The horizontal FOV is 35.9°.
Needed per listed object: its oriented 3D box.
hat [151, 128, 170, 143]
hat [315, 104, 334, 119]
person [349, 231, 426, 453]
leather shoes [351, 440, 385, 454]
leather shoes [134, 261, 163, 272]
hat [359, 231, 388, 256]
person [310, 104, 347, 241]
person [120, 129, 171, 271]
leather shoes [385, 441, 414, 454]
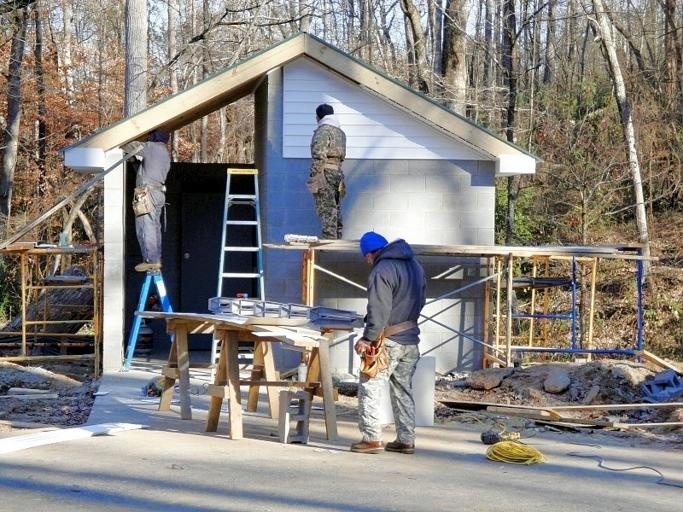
[{"bbox_3d":[-3.363,-2.259,19.466,0.325,0.304,0.249,-21,20,-18],"label":"hat"},{"bbox_3d":[-0.293,-2.643,19.109,0.306,0.341,0.418,3,-5,-3],"label":"hat"},{"bbox_3d":[0.691,1.224,15.039,0.994,3.163,0.558,4,-5,-10],"label":"person"},{"bbox_3d":[0.385,2.715,15.105,0.435,0.219,0.190,3,-5,9],"label":"leather shoes"},{"bbox_3d":[-3.510,0.184,19.158,0.505,0.232,0.205,3,-1,-12],"label":"leather shoes"},{"bbox_3d":[0.462,-0.198,15.290,0.376,0.332,0.284,-6,5,14],"label":"hat"},{"bbox_3d":[-0.250,-1.527,19.064,0.664,2.416,0.525,3,-5,-6],"label":"person"},{"bbox_3d":[-3.532,-1.070,19.253,0.897,2.667,0.403,7,-6,-38],"label":"person"},{"bbox_3d":[0.842,2.704,15.179,0.398,0.187,0.170,5,2,28],"label":"leather shoes"}]
